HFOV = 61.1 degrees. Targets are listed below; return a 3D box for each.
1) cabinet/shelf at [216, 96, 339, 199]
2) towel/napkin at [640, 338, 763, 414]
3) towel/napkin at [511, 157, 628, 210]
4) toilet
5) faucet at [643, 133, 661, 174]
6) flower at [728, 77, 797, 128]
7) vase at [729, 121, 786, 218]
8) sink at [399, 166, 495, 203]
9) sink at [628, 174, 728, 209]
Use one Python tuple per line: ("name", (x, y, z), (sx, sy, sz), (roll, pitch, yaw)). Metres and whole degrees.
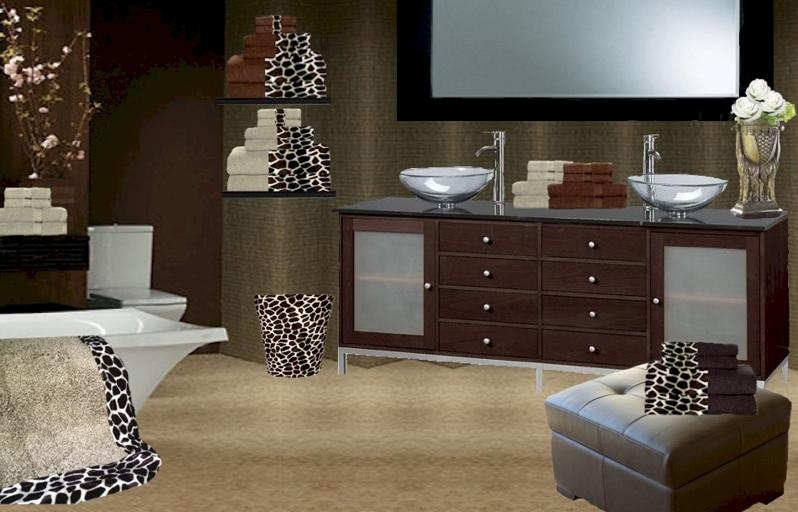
("cabinet/shelf", (-0.701, -0.556, 3.653), (0.549, 0.388, 0.521), (0, 7, 2))
("towel/napkin", (1.265, 0.519, 2.826), (0.361, 0.119, 0.350), (-1, 5, 21))
("towel/napkin", (1.034, -0.428, 4.079), (0.656, 0.276, 0.227), (2, 11, 13))
("toilet", (-1.675, 0.184, 4.174), (0.411, 0.719, 0.673), (-1, 8, -38))
("faucet", (1.555, -0.622, 4.130), (0.108, 0.235, 0.476), (3, 11, 21))
("flower", (1.985, -0.816, 3.677), (0.299, 0.279, 0.131), (-7, -38, 10))
("vase", (2.004, -0.480, 3.731), (0.299, 0.508, 0.311), (1, 11, 12))
("sink", (0.304, -0.426, 4.164), (0.544, 0.215, 0.386), (1, 11, 7))
("sink", (1.524, -0.347, 3.719), (0.339, 0.129, 0.365), (3, 7, 39))
